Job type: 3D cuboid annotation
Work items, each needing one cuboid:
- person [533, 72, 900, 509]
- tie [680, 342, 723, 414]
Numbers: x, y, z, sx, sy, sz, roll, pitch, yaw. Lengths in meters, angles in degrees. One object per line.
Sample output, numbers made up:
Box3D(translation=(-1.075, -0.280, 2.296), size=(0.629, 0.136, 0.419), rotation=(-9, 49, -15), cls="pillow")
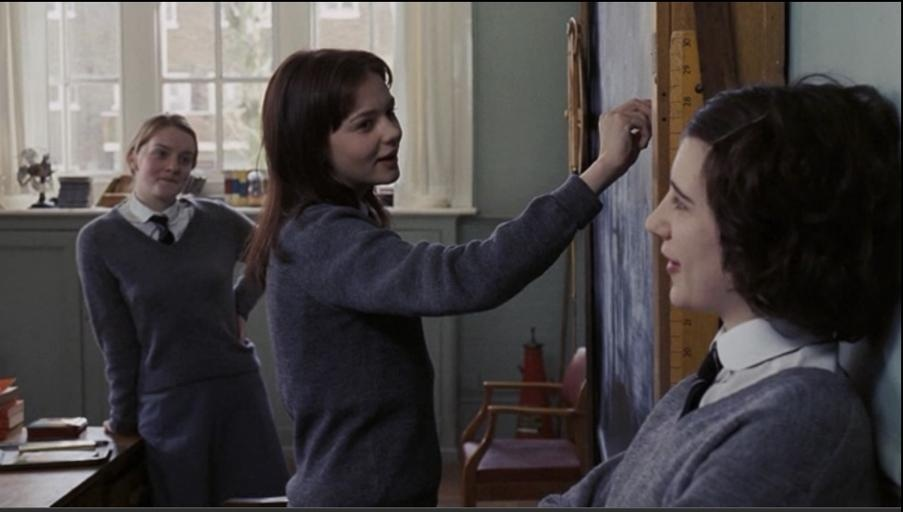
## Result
Box3D(translation=(0.631, 0.069, 2.439), size=(0.892, 1.113, 1.057), rotation=(3, 0, 14), cls="person")
Box3D(translation=(0.575, 0.283, 1.976), size=(0.057, 0.148, 0.110), rotation=(25, -10, 0), cls="tie")
